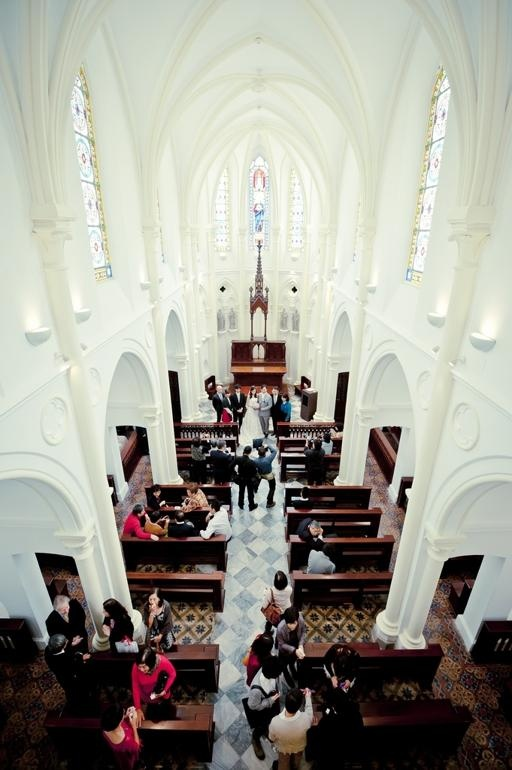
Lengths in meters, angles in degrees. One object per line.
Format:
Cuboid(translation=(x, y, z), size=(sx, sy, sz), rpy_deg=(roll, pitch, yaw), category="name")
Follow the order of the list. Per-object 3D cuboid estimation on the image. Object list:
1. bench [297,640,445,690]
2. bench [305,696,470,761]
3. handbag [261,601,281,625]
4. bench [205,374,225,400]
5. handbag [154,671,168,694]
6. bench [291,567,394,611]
Cuboid(translation=(1.219, 2.996, 4.733), size=(1.493, 0.967, 0.509), rpy_deg=(1, 51, 0), category="bench")
Cuboid(translation=(1.183, 3.096, 4.000), size=(1.436, 0.784, 0.435), rpy_deg=(0, 51, -6), category="bench")
Cuboid(translation=(0.185, 2.558, 5.082), size=(0.216, 0.292, 0.200), rpy_deg=(2, 19, 3), category="handbag")
Cuboid(translation=(-1.373, 0.053, 14.344), size=(0.257, 0.533, 0.802), rpy_deg=(3, 28, 5), category="bench")
Cuboid(translation=(-0.857, 2.678, 4.019), size=(0.126, 0.179, 0.046), rpy_deg=(10, -2, 37), category="handbag")
Cuboid(translation=(1.180, 2.813, 6.276), size=(1.577, 1.060, 0.601), rpy_deg=(-1, 65, 0), category="bench")
